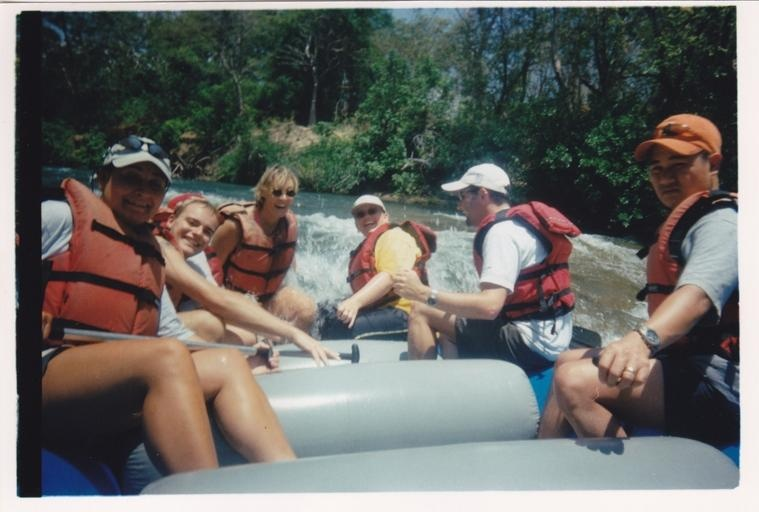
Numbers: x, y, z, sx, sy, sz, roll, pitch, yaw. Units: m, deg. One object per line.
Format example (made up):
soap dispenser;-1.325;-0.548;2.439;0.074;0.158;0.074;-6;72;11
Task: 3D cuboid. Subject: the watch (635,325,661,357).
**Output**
watch;1.373;0.431;3.238;0.074;0.117;0.115;-35;-12;-5

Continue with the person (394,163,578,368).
person;0.728;0.177;4.332;1.140;1.612;0.998;2;10;8

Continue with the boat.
boat;0.025;0.996;3.444;2.875;0.452;1.454;-1;13;-4

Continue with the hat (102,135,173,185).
hat;-1.347;-0.561;3.610;0.323;0.210;0.450;10;-7;-26

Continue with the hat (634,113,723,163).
hat;1.793;-0.717;3.781;0.533;0.291;0.391;0;6;-31

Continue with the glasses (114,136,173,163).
glasses;-1.353;-0.619;3.567;0.158;0.052;0.165;20;-43;-38

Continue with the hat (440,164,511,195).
hat;0.676;-0.509;4.291;0.364;0.197;0.234;11;6;15

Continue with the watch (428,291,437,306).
watch;0.338;0.266;3.964;0.056;0.088;0.079;13;-4;7
